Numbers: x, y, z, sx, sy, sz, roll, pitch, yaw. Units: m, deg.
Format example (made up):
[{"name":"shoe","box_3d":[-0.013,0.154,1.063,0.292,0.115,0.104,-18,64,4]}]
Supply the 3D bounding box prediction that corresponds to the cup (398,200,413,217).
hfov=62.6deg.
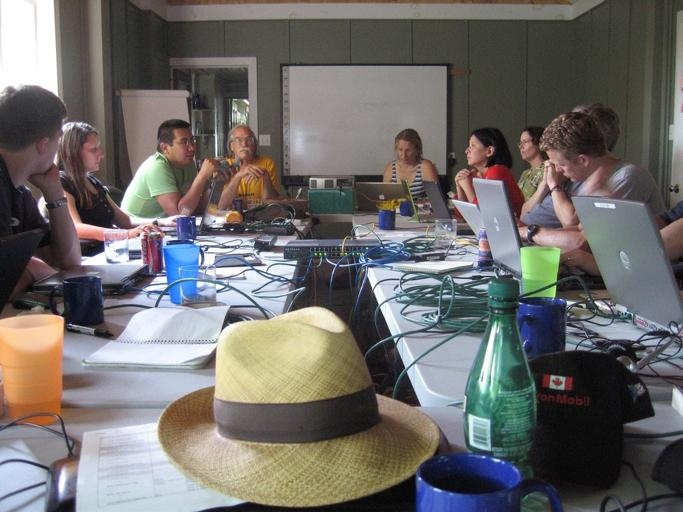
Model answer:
[{"name":"cup","box_3d":[0.480,-0.353,4.172,0.104,0.119,0.107,-2,-3,0]}]

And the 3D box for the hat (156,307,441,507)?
[{"name":"hat","box_3d":[-0.062,0.167,0.810,0.313,0.129,0.297,1,10,42]}]

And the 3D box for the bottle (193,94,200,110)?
[{"name":"bottle","box_3d":[-1.922,-2.047,7.474,0.106,0.175,0.095,-7,14,-18]}]

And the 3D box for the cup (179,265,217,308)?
[{"name":"cup","box_3d":[-0.406,0.093,1.676,0.108,0.118,0.101,0,3,0]}]

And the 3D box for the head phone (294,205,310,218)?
[{"name":"head phone","box_3d":[-0.277,-0.311,3.994,0.074,0.100,0.098,0,9,5]}]

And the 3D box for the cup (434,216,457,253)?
[{"name":"cup","box_3d":[0.497,-0.093,2.676,0.140,0.157,0.132,0,8,0]}]

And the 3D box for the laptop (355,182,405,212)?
[{"name":"laptop","box_3d":[0.285,-0.484,4.428,0.316,0.211,0.227,2,12,11]}]

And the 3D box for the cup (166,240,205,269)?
[{"name":"cup","box_3d":[-0.508,0.008,1.887,0.148,0.125,0.123,3,-2,-19]}]

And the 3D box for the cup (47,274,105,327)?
[{"name":"cup","box_3d":[-0.667,0.117,1.461,0.143,0.141,0.090,-2,7,-14]}]

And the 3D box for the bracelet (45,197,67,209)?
[{"name":"bracelet","box_3d":[-1.177,-0.216,2.326,0.075,0.047,0.072,-1,3,11]}]

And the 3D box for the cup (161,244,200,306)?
[{"name":"cup","box_3d":[-0.493,0.060,1.736,0.133,0.210,0.177,-1,1,9]}]

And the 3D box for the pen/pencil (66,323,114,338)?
[{"name":"pen/pencil","box_3d":[-0.646,0.192,1.437,0.080,0.014,0.014,9,6,3]}]

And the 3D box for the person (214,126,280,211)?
[{"name":"person","box_3d":[-0.757,-0.721,4.559,0.457,0.658,1.186,-4,14,-7]}]

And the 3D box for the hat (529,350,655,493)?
[{"name":"hat","box_3d":[0.359,0.229,0.842,0.184,0.190,0.057,-1,-8,8]}]

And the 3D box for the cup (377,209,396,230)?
[{"name":"cup","box_3d":[0.270,-0.212,3.356,0.099,0.111,0.113,1,3,3]}]

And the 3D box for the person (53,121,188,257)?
[{"name":"person","box_3d":[-1.220,-0.489,3.534,0.866,1.080,0.752,-2,12,-13]}]

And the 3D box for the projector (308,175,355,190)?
[{"name":"projector","box_3d":[-0.074,-0.556,4.282,0.333,0.079,0.196,-1,14,3]}]

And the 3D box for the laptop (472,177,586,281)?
[{"name":"laptop","box_3d":[0.636,-0.126,1.932,0.270,0.266,0.391,-9,12,-7]}]

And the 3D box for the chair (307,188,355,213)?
[{"name":"chair","box_3d":[-0.073,-0.414,4.237,0.349,0.189,0.115,-3,13,-4]}]
